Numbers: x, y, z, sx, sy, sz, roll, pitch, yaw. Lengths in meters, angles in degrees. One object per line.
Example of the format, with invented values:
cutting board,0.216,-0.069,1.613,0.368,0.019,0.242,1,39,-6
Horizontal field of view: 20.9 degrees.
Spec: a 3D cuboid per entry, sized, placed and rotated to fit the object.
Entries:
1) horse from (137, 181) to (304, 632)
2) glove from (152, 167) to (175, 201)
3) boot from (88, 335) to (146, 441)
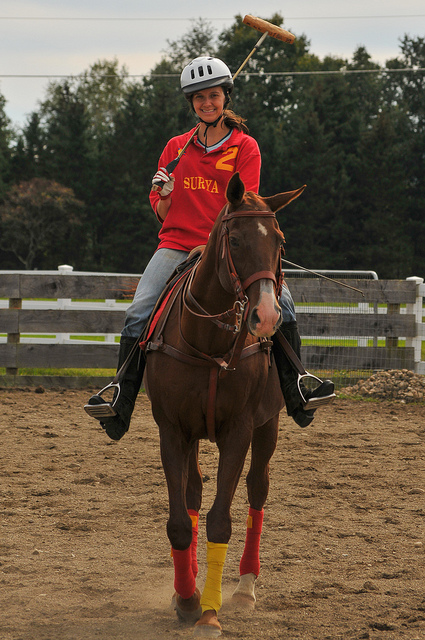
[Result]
horse,0.029,0.487,7.071,0.990,2.701,1.501,1,10,1
glove,-0.324,-0.890,7.486,0.119,0.205,0.258,3,10,11
boot,-0.639,0.347,7.431,0.165,0.584,0.431,-3,-14,27
